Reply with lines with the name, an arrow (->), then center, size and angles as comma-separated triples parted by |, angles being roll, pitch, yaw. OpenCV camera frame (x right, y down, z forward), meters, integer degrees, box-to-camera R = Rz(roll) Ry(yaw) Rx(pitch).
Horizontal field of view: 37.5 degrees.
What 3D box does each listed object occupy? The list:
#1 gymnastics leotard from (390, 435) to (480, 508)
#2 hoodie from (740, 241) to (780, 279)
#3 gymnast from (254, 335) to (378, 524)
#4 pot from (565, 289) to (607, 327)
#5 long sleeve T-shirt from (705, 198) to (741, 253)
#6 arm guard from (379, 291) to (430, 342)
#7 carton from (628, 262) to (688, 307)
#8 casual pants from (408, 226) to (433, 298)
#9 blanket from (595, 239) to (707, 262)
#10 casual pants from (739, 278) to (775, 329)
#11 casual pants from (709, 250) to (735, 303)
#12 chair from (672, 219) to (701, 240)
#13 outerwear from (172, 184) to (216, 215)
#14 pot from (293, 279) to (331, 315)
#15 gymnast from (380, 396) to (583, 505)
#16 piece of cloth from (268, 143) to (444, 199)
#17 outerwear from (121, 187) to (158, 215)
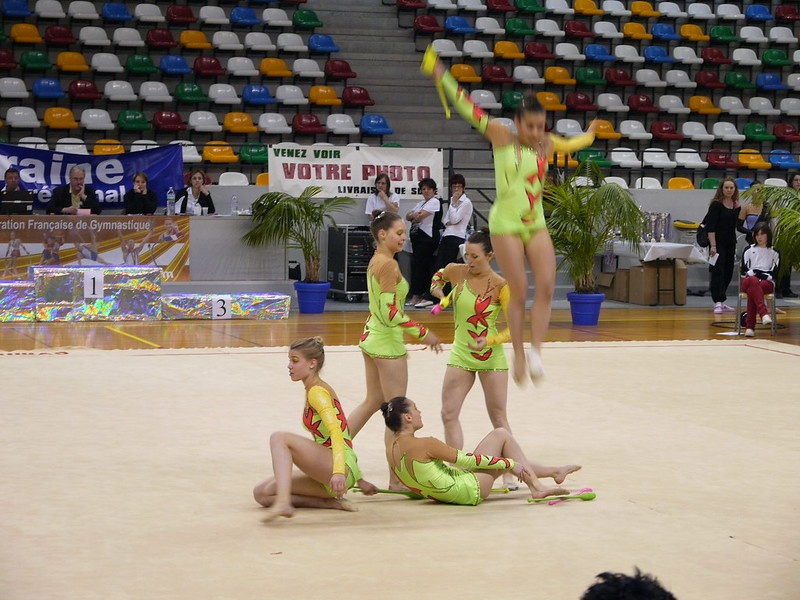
gymnastics leotard -> 0.149, 1.167, 7.727 | 0.570, 0.467, 0.393 | 3, -10, -25
hoodie -> 4.086, -0.422, 13.332 | 0.582, 0.519, 0.354 | 4, 1, 17
gymnast -> -0.597, 1.016, 8.095 | 1.128, 1.434, 0.796 | 3, -10, -6
pot -> 2.201, 0.107, 13.964 | 0.411, 0.311, 0.403 | 1, 4, 0
long sleeve T-shirt -> 4.145, -0.935, 15.100 | 0.569, 0.665, 0.233 | -7, 15, -30
arm guard -> -0.026, 0.104, 7.969 | 0.344, 0.324, 0.128 | 4, 3, -16
carton -> 3.574, -0.216, 16.416 | 0.839, 0.732, 0.587 | 0, 1, -9
casual pants -> 0.266, -0.416, 15.406 | 0.319, 0.942, 0.274 | -3, -18, 5
blanket -> 3.548, -0.635, 15.709 | 0.849, 0.158, 0.524 | -4, 9, -28
casual pants -> 4.011, 0.057, 13.194 | 0.354, 0.650, 0.470 | 2, 13, 8
casual pants -> 4.199, -0.310, 15.385 | 0.191, 0.705, 0.571 | -16, -22, 38
chair -> 4.196, -1.011, 17.166 | 0.328, 0.389, 0.353 | 0, 5, 8
outerwear -> -2.663, -1.244, 15.195 | 0.621, 0.469, 0.330 | 3, -3, -21
pot -> -1.080, -0.011, 14.615 | 0.411, 0.301, 0.412 | 0, 1, 0
gymnast -> 0.581, 0.997, 7.908 | 1.392, 0.804, 0.827 | -5, -5, -23
piece of cloth -> -0.594, -1.679, 15.506 | 2.511, 0.703, 0.032 | 4, 9, 21
outerwear -> -3.310, -1.244, 14.865 | 0.346, 0.387, 0.357 | -1, 4, -24
